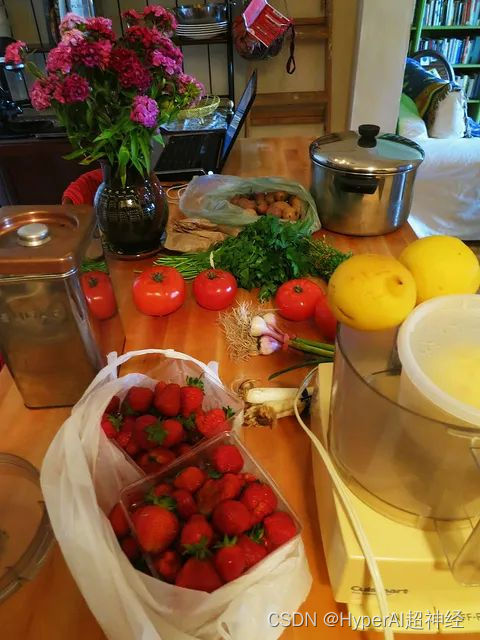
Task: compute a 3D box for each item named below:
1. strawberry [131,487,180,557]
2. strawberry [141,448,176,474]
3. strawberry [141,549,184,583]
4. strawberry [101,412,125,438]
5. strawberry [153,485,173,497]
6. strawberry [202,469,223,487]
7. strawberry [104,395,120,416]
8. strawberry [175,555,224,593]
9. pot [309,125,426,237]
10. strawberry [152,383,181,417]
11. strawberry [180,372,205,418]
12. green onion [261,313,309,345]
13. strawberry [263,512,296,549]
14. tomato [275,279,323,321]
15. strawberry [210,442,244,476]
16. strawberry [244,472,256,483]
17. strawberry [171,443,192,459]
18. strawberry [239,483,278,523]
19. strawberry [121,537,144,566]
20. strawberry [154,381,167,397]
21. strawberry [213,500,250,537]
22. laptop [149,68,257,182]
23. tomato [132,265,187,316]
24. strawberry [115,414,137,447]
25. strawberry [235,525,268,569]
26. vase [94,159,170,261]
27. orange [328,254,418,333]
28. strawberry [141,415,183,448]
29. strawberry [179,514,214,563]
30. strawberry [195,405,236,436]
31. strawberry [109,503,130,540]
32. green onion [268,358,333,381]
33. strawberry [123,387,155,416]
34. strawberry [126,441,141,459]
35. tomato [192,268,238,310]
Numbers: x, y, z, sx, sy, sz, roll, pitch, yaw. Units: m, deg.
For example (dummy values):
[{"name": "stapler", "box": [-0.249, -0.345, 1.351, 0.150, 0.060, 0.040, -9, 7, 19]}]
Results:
[{"name": "strawberry", "box": [-0.087, 0.224, 0.503, 0.049, 0.045, 0.056, -23, 37, 35]}, {"name": "strawberry", "box": [-0.107, 0.180, 0.596, 0.035, 0.032, 0.033, -10, 12, -42]}, {"name": "strawberry", "box": [-0.078, 0.252, 0.477, 0.036, 0.029, 0.038, 4, 29, 6]}, {"name": "strawberry", "box": [-0.169, 0.139, 0.611, 0.031, 0.028, 0.029, 32, 39, 24]}, {"name": "strawberry", "box": [-0.089, 0.196, 0.532, 0.015, 0.011, 0.011, -6, 52, -3]}, {"name": "strawberry", "box": [-0.032, 0.189, 0.554, 0.018, 0.016, 0.019, -4, 55, 11]}, {"name": "strawberry", "box": [-0.175, 0.119, 0.648, 0.022, 0.016, 0.027, -1, 19, 11]}, {"name": "strawberry", "box": [-0.038, 0.249, 0.452, 0.046, 0.013, 0.038, -3, 31, -1]}, {"name": "pot", "box": [0.306, -0.342, 1.178, 0.271, 0.275, 0.164, 9, 37, 14]}, {"name": "strawberry", "box": [-0.096, 0.113, 0.641, 0.039, 0.030, 0.034, -24, 41, -29]}, {"name": "strawberry", "box": [-0.076, 0.112, 0.657, 0.039, 0.056, 0.036, 17, -11, -23]}, {"name": "green onion", "box": [0.083, 0.016, 0.910, 0.093, 0.030, 0.033, 37, 16, 23]}, {"name": "strawberry", "box": [0.043, 0.224, 0.498, 0.032, 0.021, 0.031, -12, 37, -16]}, {"name": "tomato", "box": [0.122, -0.043, 0.996, 0.106, 0.070, 0.119, -15, 31, -29]}, {"name": "strawberry", "box": [-0.014, 0.172, 0.565, 0.032, 0.032, 0.042, 26, 43, 33]}, {"name": "strawberry", "box": [0.012, 0.188, 0.557, 0.012, 0.007, 0.009, 33, 27, 8]}, {"name": "strawberry", "box": [-0.079, 0.176, 0.628, 0.020, 0.014, 0.016, -32, -16, 16]}, {"name": "strawberry", "box": [0.020, 0.204, 0.513, 0.032, 0.041, 0.032, 7, 47, 8]}, {"name": "strawberry", "box": [-0.112, 0.244, 0.487, 0.027, 0.025, 0.031, -9, 27, -9]}, {"name": "strawberry", "box": [-0.116, 0.101, 0.677, 0.019, 0.013, 0.012, -55, 27, -5]}, {"name": "strawberry", "box": [-0.009, 0.209, 0.490, 0.035, 0.031, 0.039, 9, 25, -1]}, {"name": "laptop", "box": [-0.149, -0.715, 1.690, 0.399, 0.230, 0.389, -1, 42, 3]}, {"name": "tomato", "box": [-0.172, -0.059, 0.991, 0.107, 0.084, 0.079, -8, 36, -10]}, {"name": "strawberry", "box": [-0.153, 0.149, 0.623, 0.018, 0.023, 0.030, -32, 20, 51]}, {"name": "strawberry", "box": [0.020, 0.244, 0.487, 0.036, 0.038, 0.032, 12, -1, 2]}, {"name": "vase", "box": [-0.253, -0.272, 1.122, 0.172, 0.207, 0.202, -19, 30, -35]}, {"name": "orange", "box": [0.125, -0.023, 0.439, 0.075, 0.081, 0.072, -14, 1, 44]}, {"name": "strawberry", "box": [-0.099, 0.152, 0.618, 0.054, 0.045, 0.027, -20, 40, -25]}, {"name": "strawberry", "box": [-0.043, 0.224, 0.479, 0.037, 0.037, 0.038, 1, 1, -3]}, {"name": "strawberry", "box": [-0.032, 0.135, 0.671, 0.058, 0.040, 0.046, -12, 31, -15]}, {"name": "strawberry", "box": [-0.137, 0.221, 0.519, 0.016, 0.041, 0.034, -19, 40, -23]}, {"name": "green onion", "box": [0.103, 0.086, 0.789, 0.127, 0.019, 0.009, -17, 23, -19]}, {"name": "strawberry", "box": [-0.141, 0.116, 0.651, 0.032, 0.020, 0.020, -33, 48, -22]}, {"name": "strawberry", "box": [-0.142, 0.173, 0.616, 0.010, 0.019, 0.020, -7, -6, 29]}, {"name": "tomato", "box": [-0.054, -0.072, 1.027, 0.118, 0.099, 0.114, 4, 19, 6]}]
